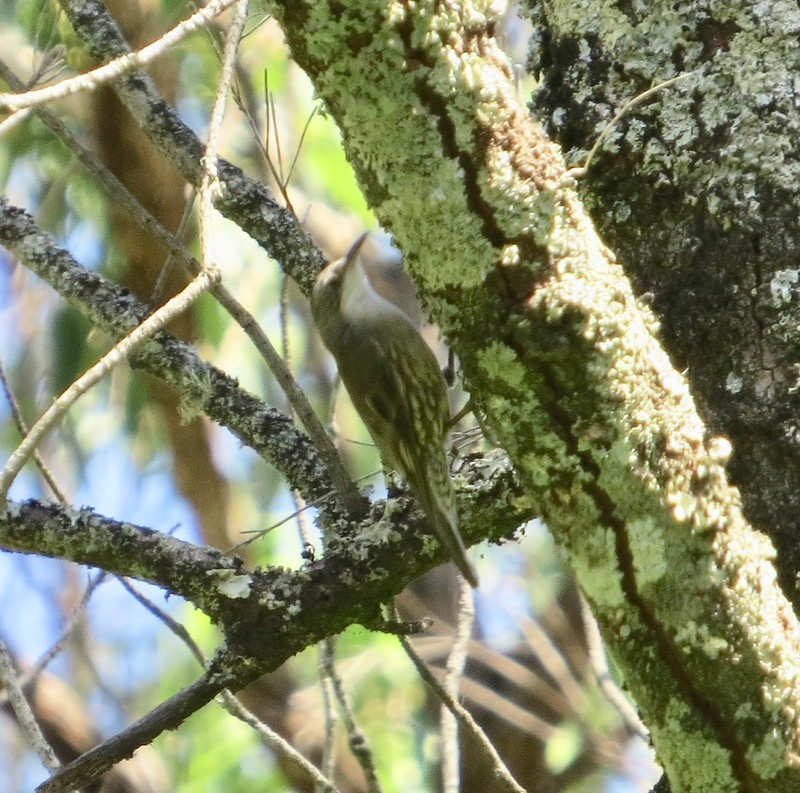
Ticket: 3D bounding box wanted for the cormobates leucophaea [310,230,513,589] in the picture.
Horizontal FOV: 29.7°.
[{"bbox_3d":[-0.041,-0.043,4.498,0.619,1.210,0.427,-9,2,24],"label":"cormobates leucophaea"}]
